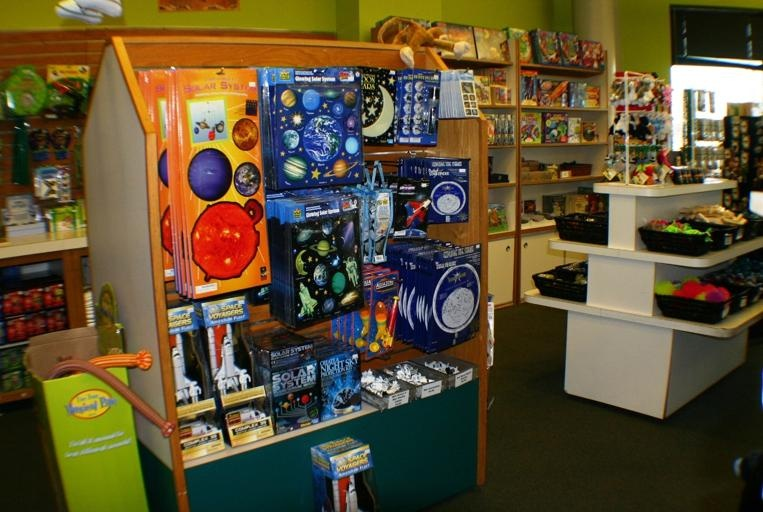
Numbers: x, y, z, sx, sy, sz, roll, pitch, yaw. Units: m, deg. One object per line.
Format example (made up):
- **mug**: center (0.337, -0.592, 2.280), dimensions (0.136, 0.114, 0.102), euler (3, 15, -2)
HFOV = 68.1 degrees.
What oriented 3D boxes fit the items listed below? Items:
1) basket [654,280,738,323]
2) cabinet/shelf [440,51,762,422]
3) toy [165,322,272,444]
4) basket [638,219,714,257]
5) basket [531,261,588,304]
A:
- **basket**: center (2.293, 0.333, 4.162), dimensions (0.493, 0.271, 0.271), euler (3, 14, 29)
- **cabinet/shelf**: center (2.203, -0.091, 4.797), dimensions (2.379, 1.743, 1.634), euler (-10, 12, -44)
- **toy**: center (-0.799, 0.654, 2.838), dimensions (0.428, 0.602, 0.149), euler (-10, 13, -23)
- **basket**: center (2.133, -0.128, 4.100), dimensions (0.367, 0.149, 0.278), euler (3, 8, 25)
- **basket**: center (1.540, 0.211, 4.693), dimensions (0.433, 0.139, 0.282), euler (-6, 9, -43)
